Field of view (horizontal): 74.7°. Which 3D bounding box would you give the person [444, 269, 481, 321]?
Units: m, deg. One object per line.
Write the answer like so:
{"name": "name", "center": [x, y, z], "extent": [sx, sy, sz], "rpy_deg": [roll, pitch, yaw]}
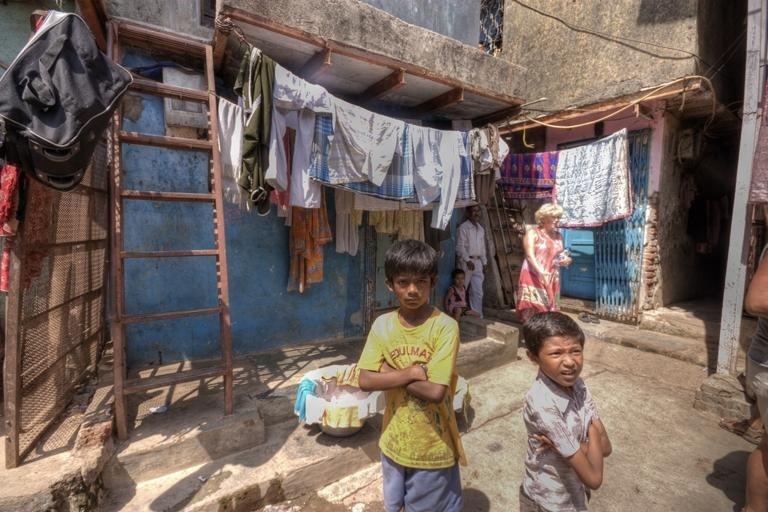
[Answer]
{"name": "person", "center": [1.348, 0.659, 8.657], "extent": [0.569, 0.843, 0.596], "rpy_deg": [-5, 17, -16]}

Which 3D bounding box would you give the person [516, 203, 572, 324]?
{"name": "person", "center": [2.109, 0.086, 6.705], "extent": [0.659, 1.582, 0.506], "rpy_deg": [-1, 3, 15]}
